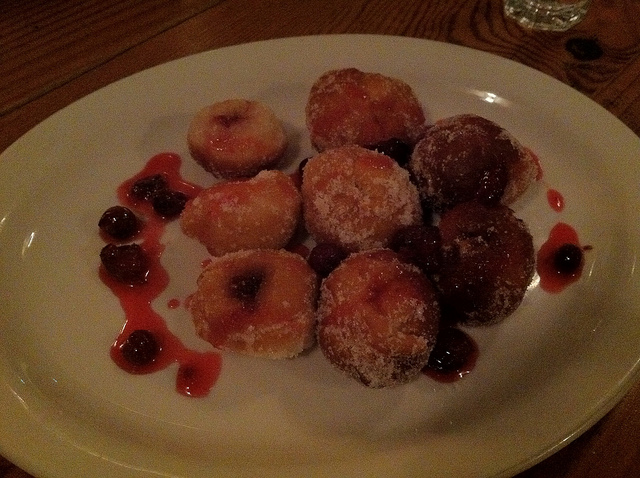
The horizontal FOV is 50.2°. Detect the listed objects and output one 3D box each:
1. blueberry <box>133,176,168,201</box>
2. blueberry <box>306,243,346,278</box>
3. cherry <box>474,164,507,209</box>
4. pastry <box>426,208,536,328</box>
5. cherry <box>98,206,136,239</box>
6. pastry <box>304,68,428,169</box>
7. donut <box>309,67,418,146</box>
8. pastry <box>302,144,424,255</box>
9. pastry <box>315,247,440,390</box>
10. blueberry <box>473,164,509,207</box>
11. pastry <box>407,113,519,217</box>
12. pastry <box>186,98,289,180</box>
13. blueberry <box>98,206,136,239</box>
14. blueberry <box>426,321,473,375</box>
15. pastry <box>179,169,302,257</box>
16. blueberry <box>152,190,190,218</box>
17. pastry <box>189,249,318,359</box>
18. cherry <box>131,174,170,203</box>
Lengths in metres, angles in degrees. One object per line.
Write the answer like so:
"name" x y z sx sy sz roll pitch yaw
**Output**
"blueberry" -0.622 -0.187 2.522 0.110 0.042 0.080 -27 70 -15
"blueberry" 0.020 0.071 2.314 0.104 0.066 0.120 -1 49 6
"cherry" 0.576 -0.184 2.307 0.109 0.067 0.137 31 79 8
"pastry" 0.497 0.078 2.240 0.353 0.169 0.353 38 96 8
"cherry" -0.726 -0.056 2.443 0.114 0.063 0.113 3 88 -13
"pastry" 0.140 -0.466 2.558 0.434 0.355 0.376 -14 25 -23
"donut" 0.155 -0.448 2.430 0.357 0.098 0.251 9 77 3
"pastry" 0.141 -0.128 2.327 0.375 0.159 0.330 -6 77 -1
"pastry" 0.185 0.255 2.245 0.411 0.203 0.441 26 78 7
"blueberry" 0.577 -0.181 2.318 0.107 0.047 0.143 15 101 -10
"pastry" 0.474 -0.258 2.464 0.399 0.317 0.295 -9 22 -22
"pastry" -0.306 -0.366 2.511 0.329 0.155 0.287 -31 78 -6
"blueberry" -0.720 -0.057 2.444 0.114 0.063 0.113 1 89 -12
"blueberry" 0.430 0.374 2.315 0.166 0.057 0.172 1 78 -10
"pastry" -0.265 -0.087 2.374 0.358 0.194 0.261 -20 35 -15
"blueberry" -0.548 -0.127 2.487 0.087 0.061 0.114 13 25 22
"pastry" -0.244 0.192 2.353 0.434 0.334 0.358 -28 25 -10
"cherry" -0.631 -0.185 2.554 0.122 0.045 0.091 -39 74 -14
